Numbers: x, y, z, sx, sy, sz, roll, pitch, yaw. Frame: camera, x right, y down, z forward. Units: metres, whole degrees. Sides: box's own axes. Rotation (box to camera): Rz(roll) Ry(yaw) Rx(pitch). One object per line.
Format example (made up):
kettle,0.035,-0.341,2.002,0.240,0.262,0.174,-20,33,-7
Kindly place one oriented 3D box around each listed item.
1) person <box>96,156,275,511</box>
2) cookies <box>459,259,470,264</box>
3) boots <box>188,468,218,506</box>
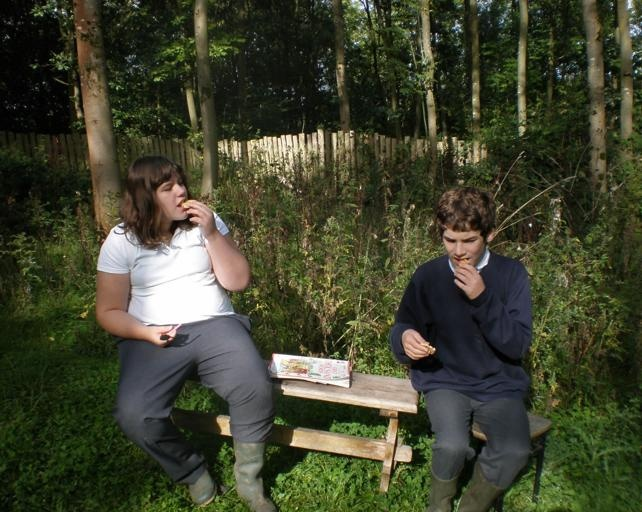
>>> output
person,-1.033,0.569,3.657,1.231,2.632,0.756,-5,9,-12
cookies,1.017,0.037,3.537,0.059,0.045,0.111,1,10,28
boots,-0.885,1.755,3.710,0.145,0.312,0.305,4,23,1
